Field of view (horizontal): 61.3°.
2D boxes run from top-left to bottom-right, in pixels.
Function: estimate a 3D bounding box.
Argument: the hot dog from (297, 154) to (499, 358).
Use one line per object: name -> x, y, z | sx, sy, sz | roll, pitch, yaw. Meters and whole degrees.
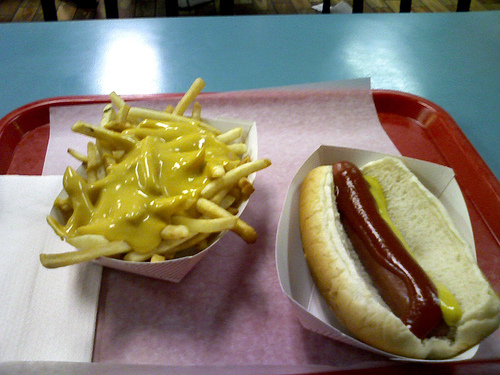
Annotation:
hot dog -> 0.505, 0.195, 1.609 | 0.535, 0.254, 0.798 | -6, 52, -7
